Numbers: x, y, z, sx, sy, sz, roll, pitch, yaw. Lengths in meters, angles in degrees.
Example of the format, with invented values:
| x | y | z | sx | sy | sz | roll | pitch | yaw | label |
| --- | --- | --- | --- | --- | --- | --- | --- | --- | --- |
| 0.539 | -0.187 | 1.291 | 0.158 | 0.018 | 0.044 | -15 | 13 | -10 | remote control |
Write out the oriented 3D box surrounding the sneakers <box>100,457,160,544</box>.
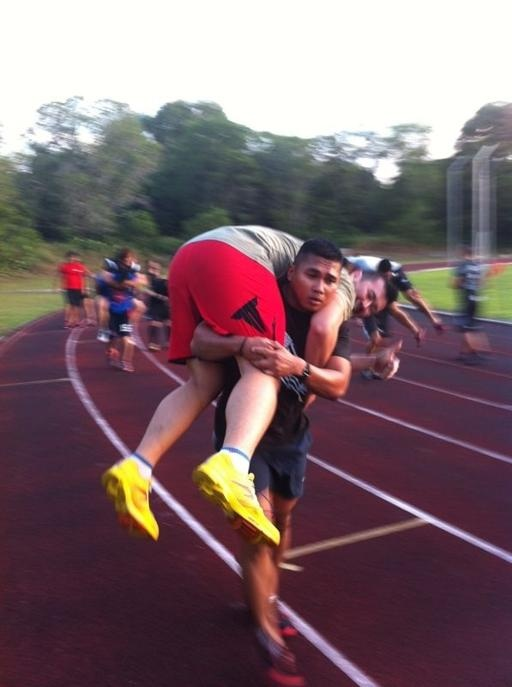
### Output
| x | y | z | sx | sy | sz | roll | pitch | yaw | label |
| --- | --- | --- | --- | --- | --- | --- | --- | --- | --- |
| -0.341 | 0.481 | 1.486 | 0.141 | 0.276 | 0.116 | -27 | 29 | 5 | sneakers |

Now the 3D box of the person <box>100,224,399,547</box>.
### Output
| x | y | z | sx | sy | sz | roll | pitch | yaw | label |
| --- | --- | --- | --- | --- | --- | --- | --- | --- | --- |
| -0.083 | 0.065 | 1.689 | 0.612 | 1.040 | 0.838 | 2 | 5 | 26 | person |

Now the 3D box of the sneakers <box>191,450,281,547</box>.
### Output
| x | y | z | sx | sy | sz | roll | pitch | yaw | label |
| --- | --- | --- | --- | --- | --- | --- | --- | --- | --- |
| -0.056 | 0.429 | 1.370 | 0.224 | 0.271 | 0.157 | -2 | 5 | -23 | sneakers |
